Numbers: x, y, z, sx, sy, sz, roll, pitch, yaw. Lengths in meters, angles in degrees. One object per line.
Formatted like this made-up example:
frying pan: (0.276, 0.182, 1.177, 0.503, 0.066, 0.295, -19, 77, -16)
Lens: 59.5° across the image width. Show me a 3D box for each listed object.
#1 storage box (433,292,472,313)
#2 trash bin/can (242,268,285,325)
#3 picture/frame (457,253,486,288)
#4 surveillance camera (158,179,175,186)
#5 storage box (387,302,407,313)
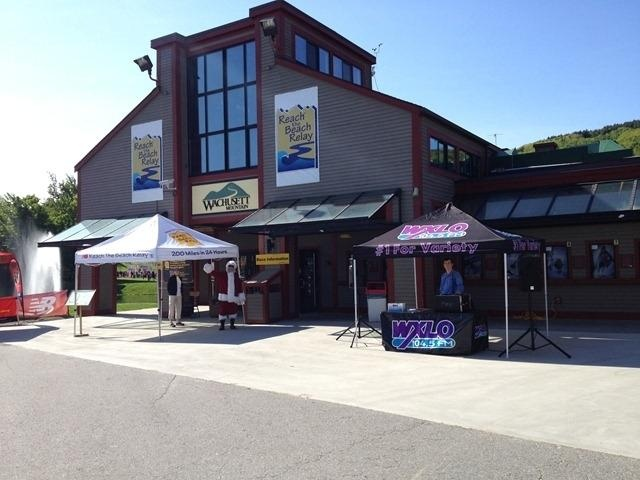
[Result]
storage box: (3.094, 1.472, 13.007, 0.867, 0.413, 0.415, -2, 0, 15)
trash bin/can: (-2.015, 2.030, 19.903, 1.060, 2.006, 0.953, 1, 1, 30)
picture/frame: (5.168, 1.067, 18.969, 0.756, 1.548, 0.841, -3, -40, 20)
surveillance camera: (-6.525, -2.372, 23.509, 0.722, 0.289, 0.501, -2, 0, 35)
storage box: (2.246, 2.001, 16.361, 0.494, 0.311, 0.251, 2, -6, 24)
